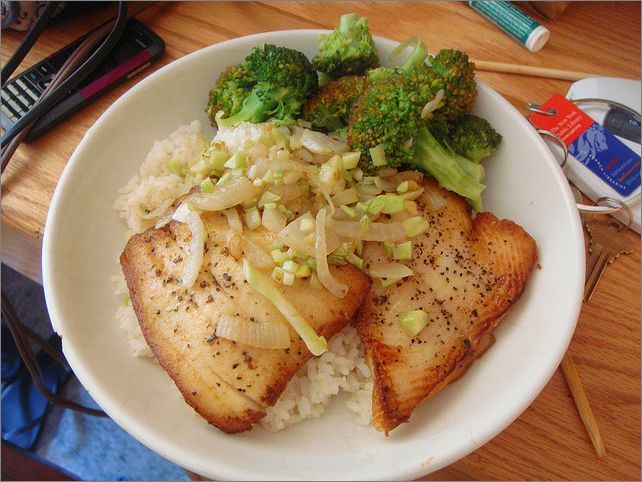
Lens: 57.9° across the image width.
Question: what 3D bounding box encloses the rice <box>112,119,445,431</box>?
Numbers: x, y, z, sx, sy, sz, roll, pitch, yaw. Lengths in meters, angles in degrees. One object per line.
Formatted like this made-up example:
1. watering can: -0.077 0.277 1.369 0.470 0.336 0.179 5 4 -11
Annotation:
1. rice: -0.295 0.144 2.730 1.434 0.446 1.458 9 81 -2
